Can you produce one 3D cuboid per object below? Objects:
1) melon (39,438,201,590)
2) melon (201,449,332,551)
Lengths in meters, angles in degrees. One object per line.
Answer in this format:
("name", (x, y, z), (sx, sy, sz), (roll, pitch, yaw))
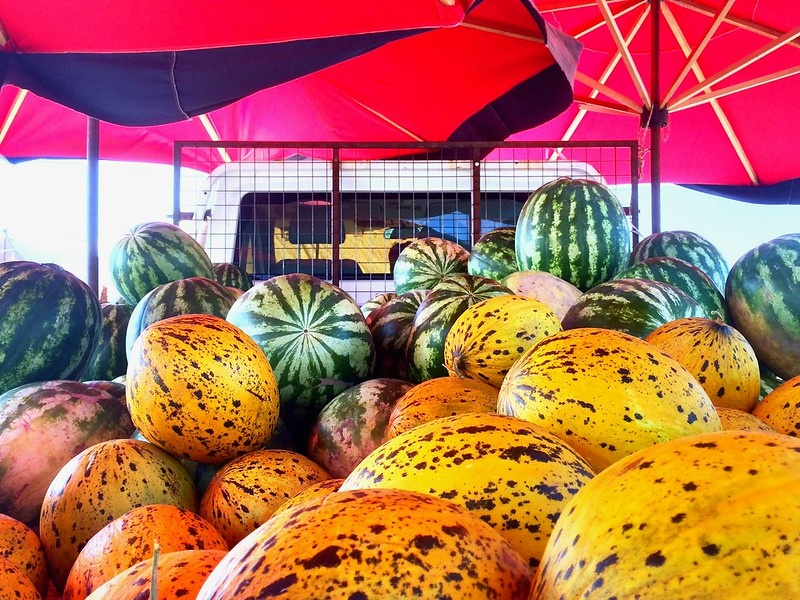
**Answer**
("melon", (-0.933, 0.624, 2.627), (0.417, 0.615, 0.447), (3, 5, -16))
("melon", (-0.481, 0.631, 2.677), (0.386, 0.317, 0.342), (39, 9, -33))
